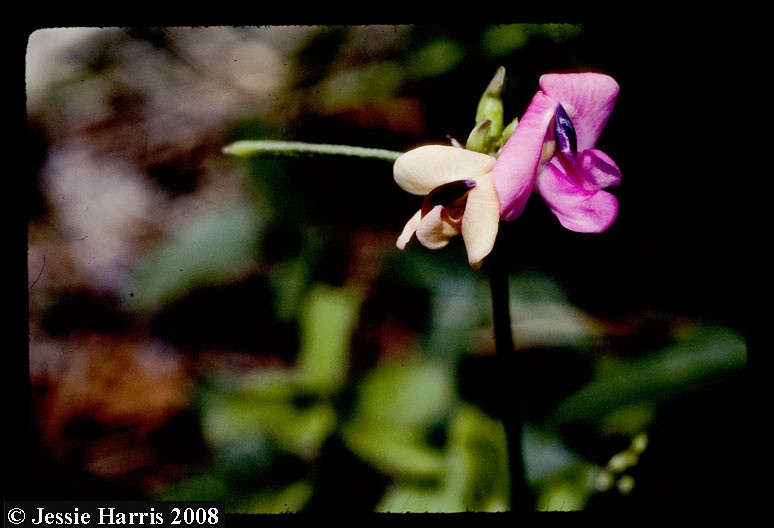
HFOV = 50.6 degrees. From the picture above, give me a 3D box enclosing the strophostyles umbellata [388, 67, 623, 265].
[{"bbox_3d":[0.156,-0.115,1.023,0.290,0.149,0.201,-3,53,-8],"label":"strophostyles umbellata"}]
